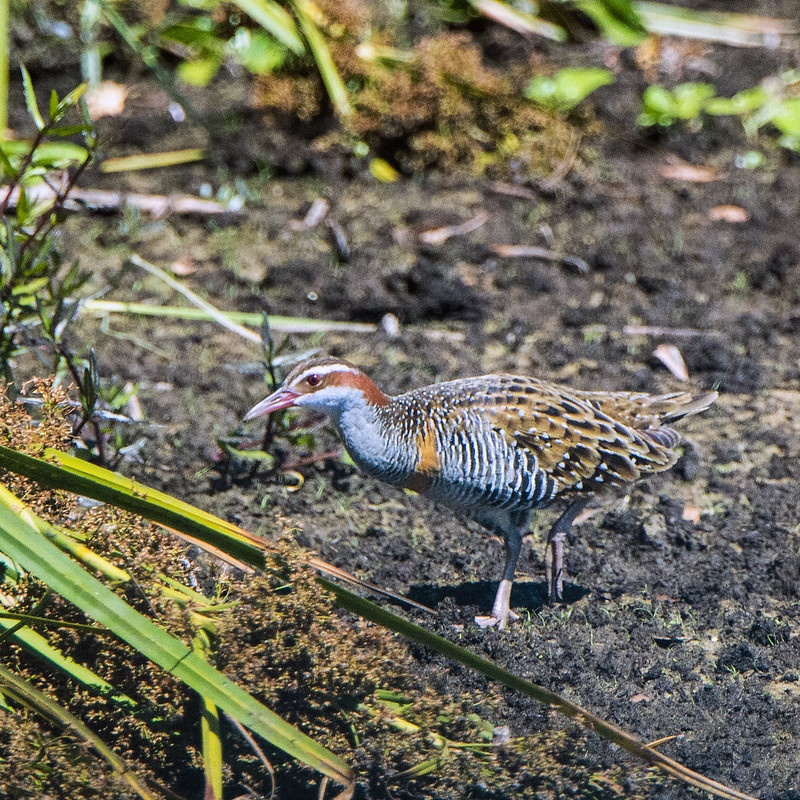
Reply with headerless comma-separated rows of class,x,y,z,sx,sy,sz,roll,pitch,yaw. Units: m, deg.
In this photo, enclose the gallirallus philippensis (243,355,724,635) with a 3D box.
gallirallus philippensis,0.279,0.216,3.440,1.319,0.588,0.378,-2,6,-12
